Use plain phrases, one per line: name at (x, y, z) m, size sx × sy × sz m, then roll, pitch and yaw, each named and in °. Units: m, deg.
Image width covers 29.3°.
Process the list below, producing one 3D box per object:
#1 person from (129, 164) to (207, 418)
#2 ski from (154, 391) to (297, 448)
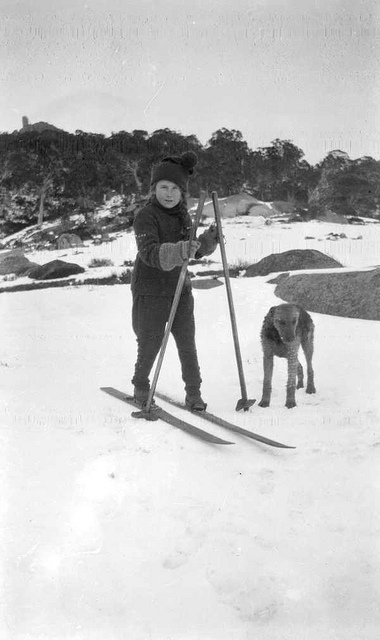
person at (-0.116, -0.143, 4.163) m, size 0.443 × 1.454 × 0.757 m, roll 1°, pitch 11°, yaw -6°
ski at (0.018, 0.431, 4.227) m, size 0.208 × 0.131 × 2.186 m, roll -7°, pitch 6°, yaw -21°
